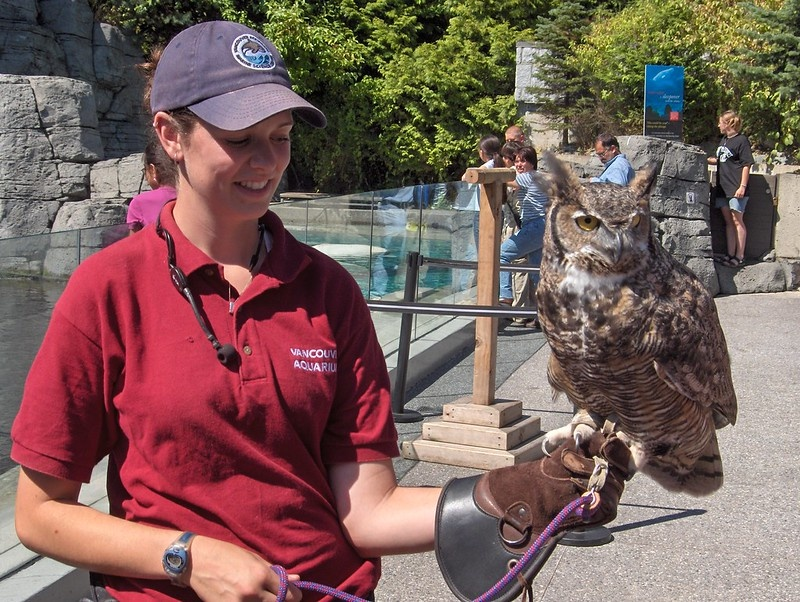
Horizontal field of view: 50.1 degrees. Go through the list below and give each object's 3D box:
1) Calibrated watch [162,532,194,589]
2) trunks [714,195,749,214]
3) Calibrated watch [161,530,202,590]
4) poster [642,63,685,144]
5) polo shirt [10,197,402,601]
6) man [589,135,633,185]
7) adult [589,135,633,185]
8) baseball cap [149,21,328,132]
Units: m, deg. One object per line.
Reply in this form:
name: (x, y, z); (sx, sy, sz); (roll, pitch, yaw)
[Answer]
Calibrated watch: (-0.629, 0.743, 2.482); (0.077, 0.125, 0.119); (9, -3, 6)
trunks: (4.977, -1.537, 12.892); (0.271, 0.342, 0.456); (4, 0, -28)
Calibrated watch: (-0.629, 0.733, 2.434); (0.084, 0.132, 0.124); (21, 5, -6)
poster: (4.056, -3.088, 13.283); (0.577, 1.127, 0.596); (3, 13, 15)
polo shirt: (-0.566, 0.329, 2.660); (1.109, 1.128, 0.430); (0, 12, -1)
man: (2.477, -1.614, 9.986); (0.478, 0.626, 0.762); (-4, -5, 10)
adult: (2.490, -1.612, 10.023); (0.468, 0.635, 0.780); (-3, -10, 18)
baseball cap: (-0.487, -0.679, 2.590); (0.458, 0.241, 0.316); (11, 16, 37)
